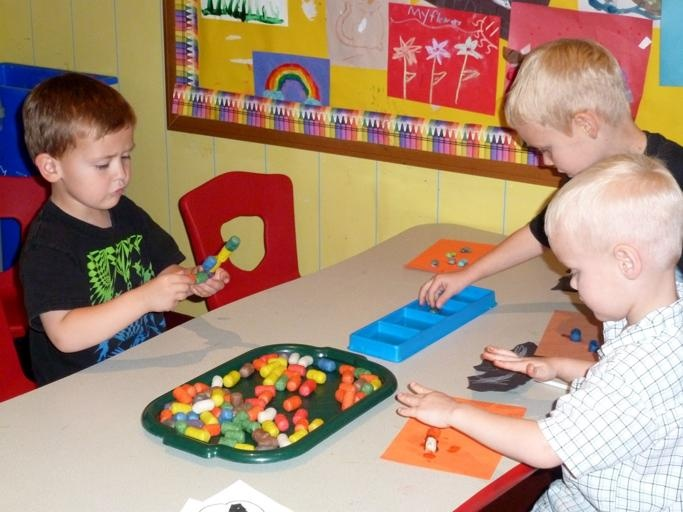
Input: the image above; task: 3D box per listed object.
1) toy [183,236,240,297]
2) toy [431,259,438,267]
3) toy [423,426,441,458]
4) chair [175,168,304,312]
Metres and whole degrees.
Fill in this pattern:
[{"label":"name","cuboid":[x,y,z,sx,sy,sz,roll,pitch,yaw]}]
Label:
[{"label":"toy","cuboid":[-0.366,0.040,1.556,0.059,0.234,0.079,50,21,24]},{"label":"toy","cuboid":[0.300,0.021,1.909,0.019,0.011,0.019,-20,27,-38]},{"label":"toy","cuboid":[0.178,0.357,1.142,0.023,0.008,0.066,2,21,10]},{"label":"chair","cuboid":[-0.330,-0.063,2.063,0.308,0.536,0.374,-20,47,-27]}]
